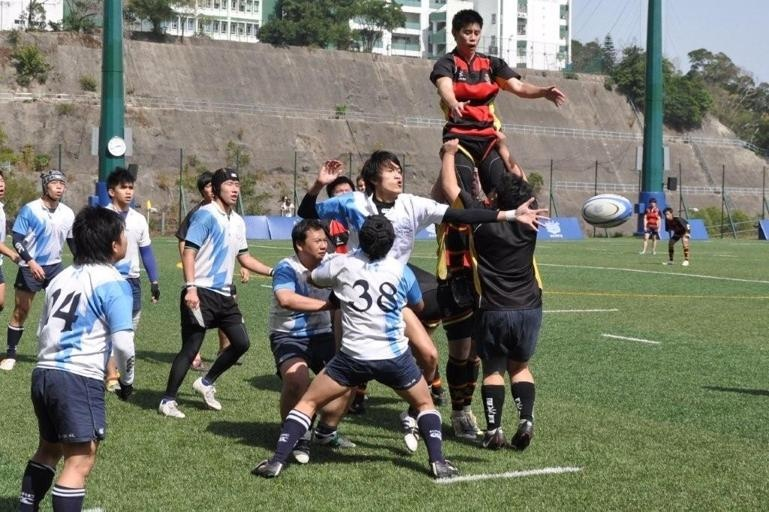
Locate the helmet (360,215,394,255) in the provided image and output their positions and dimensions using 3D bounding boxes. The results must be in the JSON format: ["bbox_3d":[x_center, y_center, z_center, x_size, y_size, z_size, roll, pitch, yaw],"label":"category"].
[{"bbox_3d":[-0.085,-0.160,6.711,0.274,0.369,0.356,8,-36,0],"label":"helmet"}]

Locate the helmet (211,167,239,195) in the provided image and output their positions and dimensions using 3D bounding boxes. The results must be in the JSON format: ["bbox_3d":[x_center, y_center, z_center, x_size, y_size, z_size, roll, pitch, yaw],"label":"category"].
[{"bbox_3d":[-1.931,-0.898,8.516,0.316,0.320,0.285,-4,8,-10],"label":"helmet"}]

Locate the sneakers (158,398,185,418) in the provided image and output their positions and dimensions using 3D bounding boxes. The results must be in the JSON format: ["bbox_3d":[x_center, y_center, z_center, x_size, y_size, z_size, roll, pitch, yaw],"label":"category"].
[{"bbox_3d":[-2.462,1.747,8.176,0.393,0.195,0.149,3,0,12],"label":"sneakers"}]

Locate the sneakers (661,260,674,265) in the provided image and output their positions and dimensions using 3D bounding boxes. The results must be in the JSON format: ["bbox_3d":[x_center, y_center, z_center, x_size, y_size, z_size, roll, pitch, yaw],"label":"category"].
[{"bbox_3d":[9.346,0.196,23.272,0.483,0.223,0.175,2,1,0],"label":"sneakers"}]

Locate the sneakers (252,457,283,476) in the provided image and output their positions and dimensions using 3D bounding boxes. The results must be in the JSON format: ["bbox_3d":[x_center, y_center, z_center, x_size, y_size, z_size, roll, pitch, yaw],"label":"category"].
[{"bbox_3d":[-1.123,2.004,6.759,0.329,0.162,0.123,0,-2,43],"label":"sneakers"}]

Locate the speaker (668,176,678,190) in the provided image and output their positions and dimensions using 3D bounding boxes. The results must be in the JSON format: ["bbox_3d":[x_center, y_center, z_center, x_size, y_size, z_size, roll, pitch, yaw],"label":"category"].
[{"bbox_3d":[16.551,-4.180,40.794,0.413,0.706,0.981,3,8,16],"label":"speaker"}]

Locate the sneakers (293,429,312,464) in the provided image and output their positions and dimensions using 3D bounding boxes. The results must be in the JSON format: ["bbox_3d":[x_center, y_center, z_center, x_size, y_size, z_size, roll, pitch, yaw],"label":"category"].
[{"bbox_3d":[-0.819,1.886,7.038,0.206,0.297,0.161,-4,9,-32],"label":"sneakers"}]

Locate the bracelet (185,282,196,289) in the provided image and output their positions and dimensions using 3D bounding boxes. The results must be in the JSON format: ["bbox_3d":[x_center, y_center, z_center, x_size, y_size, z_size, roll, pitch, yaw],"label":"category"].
[{"bbox_3d":[-2.257,0.333,8.137,0.068,0.053,0.071,0,-3,0],"label":"bracelet"}]
